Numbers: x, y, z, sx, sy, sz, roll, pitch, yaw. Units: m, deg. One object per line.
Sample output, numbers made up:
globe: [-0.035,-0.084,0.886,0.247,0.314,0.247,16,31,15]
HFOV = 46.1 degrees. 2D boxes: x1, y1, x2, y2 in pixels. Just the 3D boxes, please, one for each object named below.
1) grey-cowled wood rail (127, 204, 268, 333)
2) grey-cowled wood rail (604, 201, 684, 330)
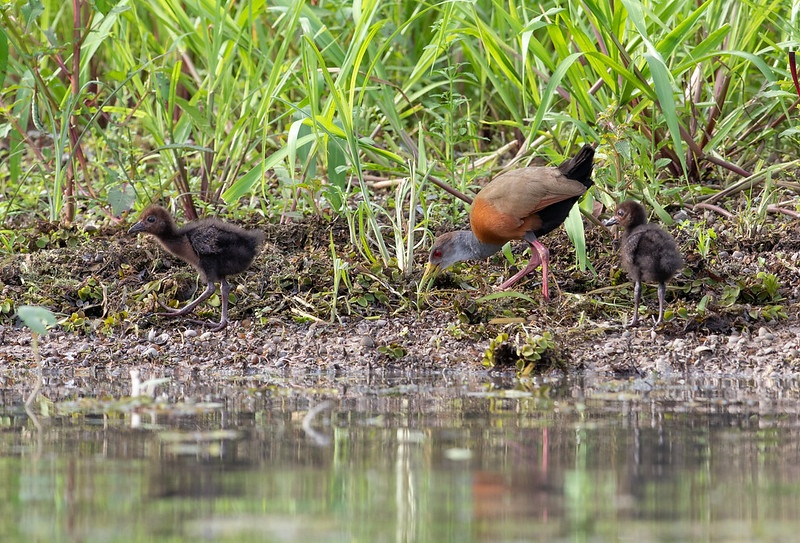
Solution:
grey-cowled wood rail: [-1.484,-0.061,7.436,1.026,0.990,0.935,-10,2,-28]
grey-cowled wood rail: [1.908,-0.071,7.278,0.491,0.919,0.669,0,8,-1]
